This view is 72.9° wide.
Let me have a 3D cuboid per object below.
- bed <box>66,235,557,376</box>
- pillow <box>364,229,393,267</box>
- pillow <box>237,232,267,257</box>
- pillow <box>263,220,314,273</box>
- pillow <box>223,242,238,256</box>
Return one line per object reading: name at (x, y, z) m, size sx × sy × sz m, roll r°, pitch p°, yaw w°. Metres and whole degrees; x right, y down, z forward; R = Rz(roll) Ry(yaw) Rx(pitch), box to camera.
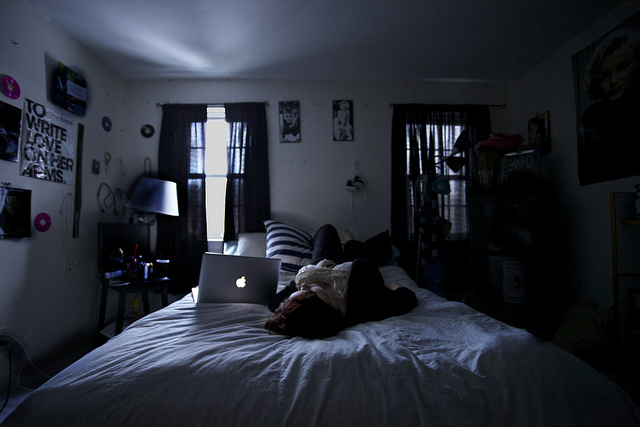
bed at (-0.061, 0.662, 3.362) m, size 2.788 × 0.694 × 1.191 m, roll -1°, pitch -2°, yaw 0°
pillow at (0.594, 0.349, 4.358) m, size 0.276 × 0.289 × 0.081 m, roll -16°, pitch -20°, yaw -23°
pillow at (-0.715, 0.312, 4.567) m, size 0.234 × 0.098 × 0.246 m, roll 3°, pitch 41°, yaw -3°
pillow at (-0.288, 0.343, 4.424) m, size 0.570 × 0.588 × 0.163 m, roll 20°, pitch -8°, yaw 42°
pillow at (-0.963, 0.370, 4.705) m, size 0.182 × 0.047 × 0.195 m, roll -6°, pitch 16°, yaw -10°
